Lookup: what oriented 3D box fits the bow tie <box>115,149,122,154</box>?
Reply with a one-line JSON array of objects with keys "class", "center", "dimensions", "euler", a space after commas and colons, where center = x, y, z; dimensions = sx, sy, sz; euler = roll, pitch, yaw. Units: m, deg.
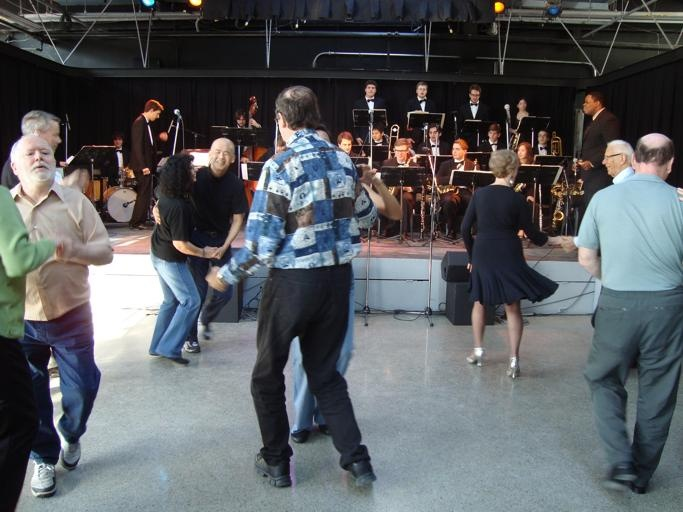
[{"class": "bow tie", "center": [-4.045, -1.914, 9.989], "dimensions": [0.086, 0.095, 0.332], "euler": [-3, 11, -17]}]

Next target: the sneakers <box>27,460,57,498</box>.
[{"class": "sneakers", "center": [-1.524, 1.161, 2.826], "dimensions": [0.083, 0.096, 0.235], "euler": [7, -10, -31]}]

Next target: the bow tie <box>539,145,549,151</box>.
[{"class": "bow tie", "center": [3.619, -1.937, 9.861], "dimensions": [0.179, 0.046, 0.186], "euler": [-3, 7, -39]}]

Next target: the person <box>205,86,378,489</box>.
[{"class": "person", "center": [-0.193, 0.189, 2.914], "dimensions": [0.757, 2.099, 0.301], "euler": [1, 10, 1]}]

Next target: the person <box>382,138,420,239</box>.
[{"class": "person", "center": [0.866, -0.936, 7.926], "dimensions": [0.696, 1.425, 0.494], "euler": [-1, 17, -7]}]

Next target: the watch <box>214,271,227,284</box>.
[{"class": "watch", "center": [-0.609, 0.108, 2.777], "dimensions": [0.012, 0.051, 0.051], "euler": [-28, 13, -30]}]

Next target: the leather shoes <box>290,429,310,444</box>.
[{"class": "leather shoes", "center": [-0.263, 1.121, 3.421], "dimensions": [0.054, 0.045, 0.114], "euler": [1, -5, 16]}]

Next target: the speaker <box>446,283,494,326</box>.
[{"class": "speaker", "center": [1.357, 0.517, 5.889], "dimensions": [0.498, 0.504, 0.490], "euler": [1, 7, 7]}]

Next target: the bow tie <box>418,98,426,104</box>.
[{"class": "bow tie", "center": [1.352, -2.620, 9.310], "dimensions": [0.130, 0.068, 0.057], "euler": [4, 11, 17]}]

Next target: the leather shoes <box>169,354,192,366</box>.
[{"class": "leather shoes", "center": [-1.353, 0.875, 4.660], "dimensions": [0.189, 0.082, 0.069], "euler": [9, 0, -11]}]

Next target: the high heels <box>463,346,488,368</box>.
[{"class": "high heels", "center": [1.144, 0.866, 4.747], "dimensions": [0.083, 0.140, 0.202], "euler": [1, 7, -13]}]

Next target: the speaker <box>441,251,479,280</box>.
[{"class": "speaker", "center": [1.250, 0.118, 5.849], "dimensions": [0.276, 0.285, 0.281], "euler": [4, 52, -3]}]

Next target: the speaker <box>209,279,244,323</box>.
[{"class": "speaker", "center": [-1.067, 0.426, 5.047], "dimensions": [0.226, 0.442, 0.421], "euler": [4, -26, 4]}]

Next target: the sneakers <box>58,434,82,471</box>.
[{"class": "sneakers", "center": [-1.506, 1.102, 3.061], "dimensions": [0.083, 0.248, 0.101], "euler": [-6, 22, -45]}]

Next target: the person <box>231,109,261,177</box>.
[{"class": "person", "center": [-1.525, -1.856, 8.652], "dimensions": [0.612, 1.188, 0.360], "euler": [3, 9, 12]}]

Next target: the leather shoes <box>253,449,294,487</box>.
[{"class": "leather shoes", "center": [-0.376, 1.168, 3.083], "dimensions": [0.109, 0.131, 0.263], "euler": [4, 7, -35]}]

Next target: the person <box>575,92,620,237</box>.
[{"class": "person", "center": [3.324, -1.092, 7.212], "dimensions": [0.608, 2.001, 0.697], "euler": [-7, 15, 5]}]

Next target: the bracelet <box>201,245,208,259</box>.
[{"class": "bracelet", "center": [-1.146, -0.034, 4.609], "dimensions": [0.071, 0.095, 0.034], "euler": [1, 0, -26]}]
